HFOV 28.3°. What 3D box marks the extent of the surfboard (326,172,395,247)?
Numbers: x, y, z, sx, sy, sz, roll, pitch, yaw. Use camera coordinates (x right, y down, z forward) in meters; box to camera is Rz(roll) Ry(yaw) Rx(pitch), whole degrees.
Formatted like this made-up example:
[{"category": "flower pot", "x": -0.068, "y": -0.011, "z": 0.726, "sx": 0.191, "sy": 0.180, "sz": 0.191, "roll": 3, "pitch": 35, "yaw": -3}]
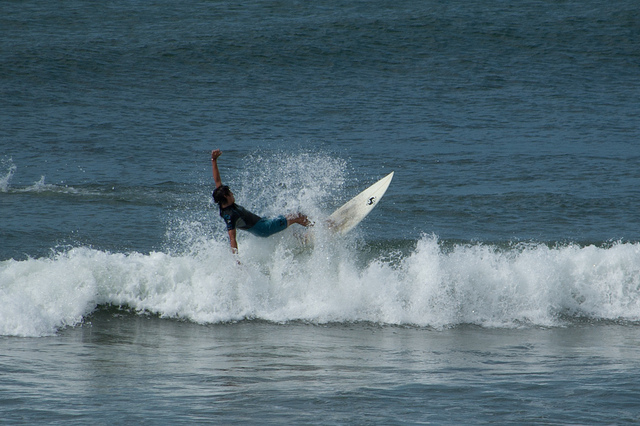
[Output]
[{"category": "surfboard", "x": 1.313, "y": -0.223, "z": 46.865, "sx": 0.836, "sy": 1.091, "sz": 3.254, "roll": 26, "pitch": 43, "yaw": 31}]
